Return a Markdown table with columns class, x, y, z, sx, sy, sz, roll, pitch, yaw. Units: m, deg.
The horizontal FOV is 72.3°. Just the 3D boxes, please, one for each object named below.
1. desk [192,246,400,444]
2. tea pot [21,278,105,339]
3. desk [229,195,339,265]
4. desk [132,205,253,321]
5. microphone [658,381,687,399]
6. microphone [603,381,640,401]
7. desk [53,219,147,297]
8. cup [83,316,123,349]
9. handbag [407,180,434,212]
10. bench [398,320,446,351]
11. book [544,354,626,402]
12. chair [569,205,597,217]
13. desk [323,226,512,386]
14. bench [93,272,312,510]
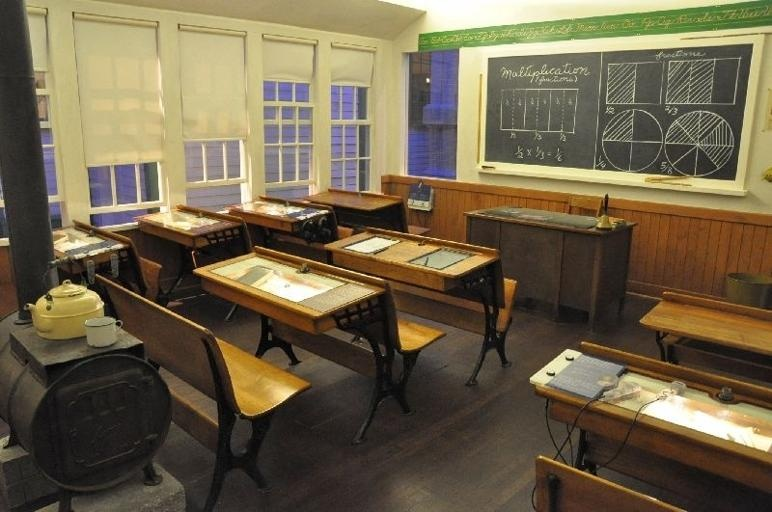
| class | x | y | z | sx | sy | sz | roll | pitch | yaw |
| --- | --- | --- | --- | --- | --- | --- | --- | --- | --- |
| desk | -0.658 | 0.761 | 4.320 | 1.716 | 0.892 | 0.877 | 13 | 18 | 39 |
| tea pot | -1.982 | 0.332 | 3.288 | 0.402 | 0.331 | 0.286 | -5 | 18 | -9 |
| desk | -1.368 | -0.374 | 7.040 | 1.308 | 0.661 | 0.668 | 16 | 29 | 39 |
| desk | -2.161 | 0.069 | 5.924 | 1.456 | 0.939 | 0.863 | 13 | 22 | 38 |
| microphone | 1.655 | 0.780 | 3.086 | 0.170 | 0.049 | 0.089 | -16 | 20 | -30 |
| microphone | 1.353 | 0.794 | 3.064 | 0.163 | 0.030 | 0.110 | -14 | 17 | -25 |
| desk | -3.186 | -0.031 | 5.670 | 1.243 | 0.453 | 0.538 | 10 | 21 | 31 |
| cup | -1.702 | 0.468 | 3.272 | 0.186 | 0.128 | 0.225 | 5 | 6 | 35 |
| handbag | 0.595 | -1.016 | 8.911 | 0.648 | 0.516 | 0.266 | 6 | 7 | 38 |
| bench | 0.262 | 0.643 | 4.525 | 0.366 | 0.031 | 0.348 | 9 | 15 | 34 |
| book | 1.218 | 0.734 | 3.194 | 0.250 | 0.052 | 0.313 | 9 | 21 | 41 |
| chair | 2.654 | -0.610 | 7.173 | 0.212 | 0.290 | 0.222 | 6 | 11 | 43 |
| desk | 0.266 | 0.390 | 5.260 | 0.929 | 0.879 | 1.837 | -2 | 9 | -42 |
| bench | -1.271 | 1.016 | 3.799 | 1.660 | 0.842 | 0.688 | 18 | 27 | 40 |
